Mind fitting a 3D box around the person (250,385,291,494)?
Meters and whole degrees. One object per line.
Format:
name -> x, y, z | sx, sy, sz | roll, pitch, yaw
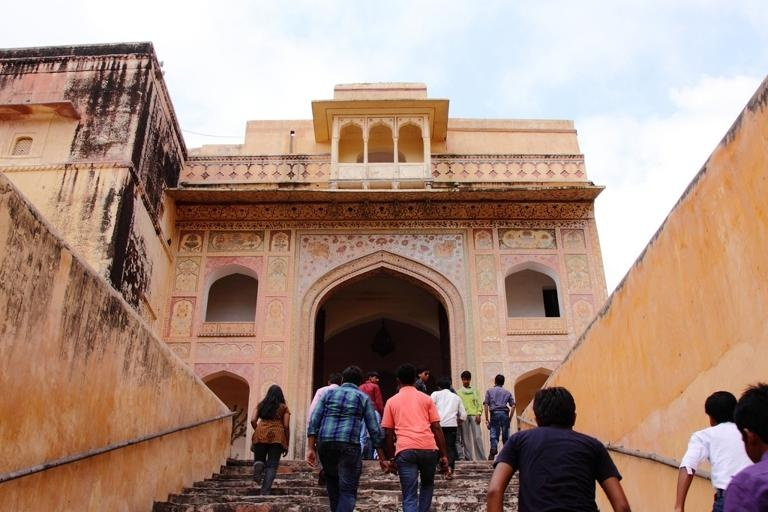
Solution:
person -> -1.376, 2.185, 6.650 | 0.421, 1.331, 0.582 | 17, -34, -23
